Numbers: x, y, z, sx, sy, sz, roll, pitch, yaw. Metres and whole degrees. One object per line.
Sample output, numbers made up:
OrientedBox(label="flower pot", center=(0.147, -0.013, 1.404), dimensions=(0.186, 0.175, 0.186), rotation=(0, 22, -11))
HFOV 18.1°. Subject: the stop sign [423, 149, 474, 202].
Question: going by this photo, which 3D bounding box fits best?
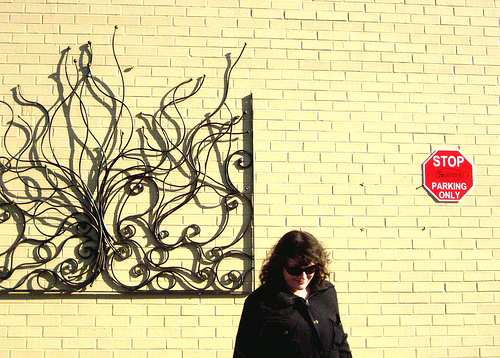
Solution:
OrientedBox(label="stop sign", center=(1.881, -0.014, 14.982), dimensions=(0.756, 0.474, 0.079), rotation=(0, -3, -5))
